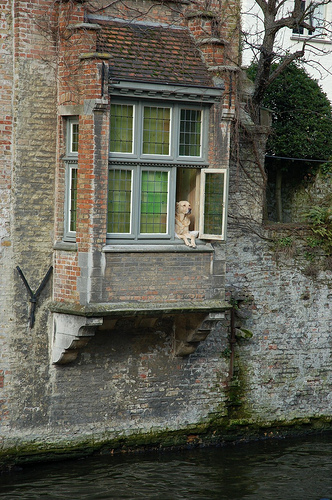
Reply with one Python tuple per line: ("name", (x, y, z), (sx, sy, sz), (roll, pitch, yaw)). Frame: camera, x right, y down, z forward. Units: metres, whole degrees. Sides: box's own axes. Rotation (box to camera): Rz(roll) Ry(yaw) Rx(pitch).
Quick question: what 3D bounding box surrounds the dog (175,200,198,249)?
("dog", (0.303, -0.400, 19.720), (0.337, 0.702, 0.339), (1, -1, -21))
